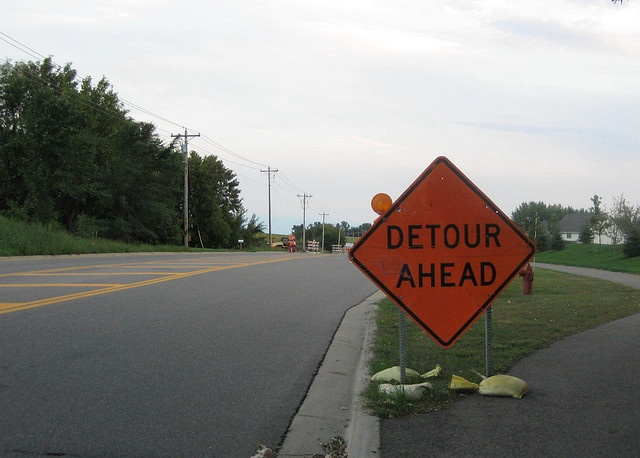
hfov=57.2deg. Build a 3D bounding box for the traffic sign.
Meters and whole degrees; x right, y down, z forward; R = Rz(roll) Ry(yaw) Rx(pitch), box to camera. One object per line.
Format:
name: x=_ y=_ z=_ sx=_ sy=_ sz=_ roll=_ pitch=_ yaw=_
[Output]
traffic sign: x=1.638 y=0.611 z=7.854 sx=2.357 sy=2.626 sz=0.108 roll=2 pitch=3 yaw=2
